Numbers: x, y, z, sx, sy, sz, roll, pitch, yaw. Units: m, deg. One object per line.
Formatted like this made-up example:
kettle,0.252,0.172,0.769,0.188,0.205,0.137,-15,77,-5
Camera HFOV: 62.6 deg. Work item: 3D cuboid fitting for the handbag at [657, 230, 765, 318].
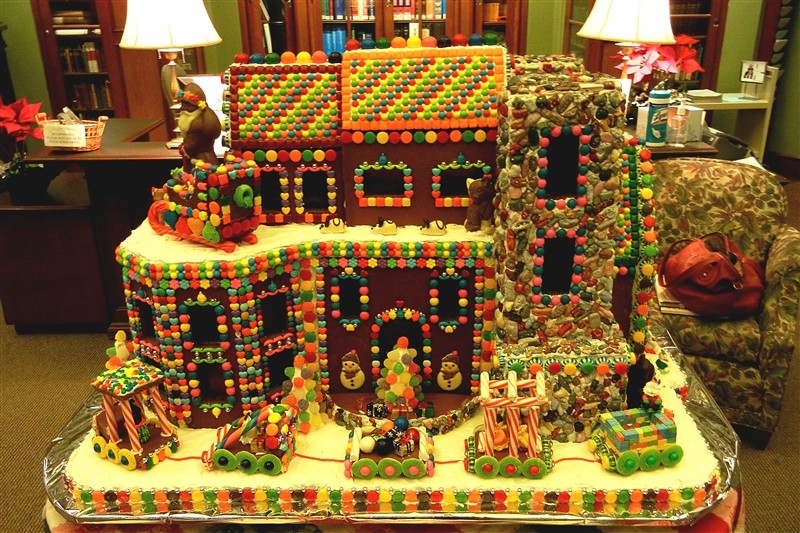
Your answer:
handbag,2.496,0.086,5.170,0.805,0.323,0.600,19,41,25

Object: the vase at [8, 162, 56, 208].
vase,-3.458,-0.758,6.117,0.360,0.424,0.231,3,33,-12

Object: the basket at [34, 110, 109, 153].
basket,-3.050,-1.261,6.064,0.509,0.244,0.381,-12,22,-39
